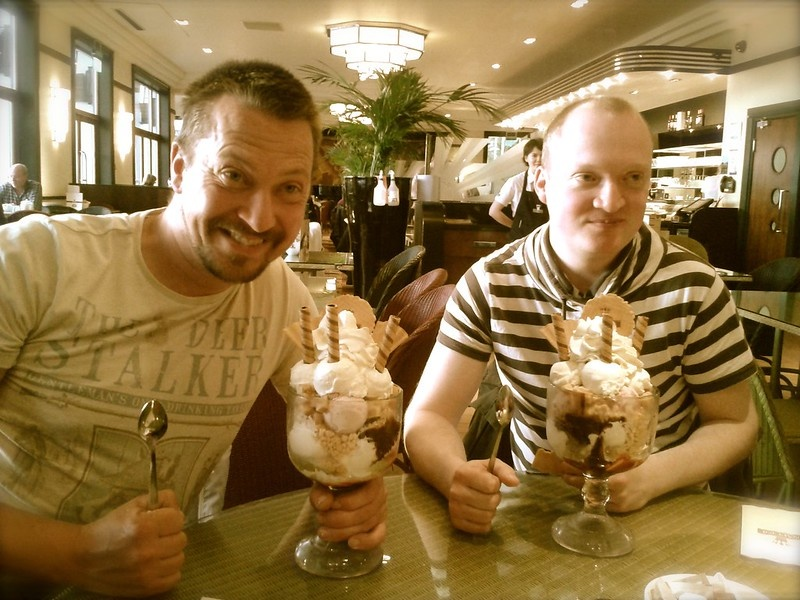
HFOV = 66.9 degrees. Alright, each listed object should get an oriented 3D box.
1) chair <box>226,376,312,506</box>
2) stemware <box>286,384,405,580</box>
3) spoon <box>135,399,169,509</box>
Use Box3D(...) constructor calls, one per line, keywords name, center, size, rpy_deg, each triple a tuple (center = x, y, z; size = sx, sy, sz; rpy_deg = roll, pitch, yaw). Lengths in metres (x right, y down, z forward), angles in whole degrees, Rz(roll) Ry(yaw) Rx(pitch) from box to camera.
Box3D(name="chair", center=(-0.434, 0.450, 2.039), size=(0.363, 0.450, 0.327), rpy_deg=(-2, -8, -14))
Box3D(name="stemware", center=(-0.101, 0.314, 1.101), size=(0.209, 0.313, 0.168), rpy_deg=(1, 13, -1))
Box3D(name="spoon", center=(-0.430, 0.263, 1.063), size=(0.042, 0.220, 0.173), rpy_deg=(-5, 14, -23))
